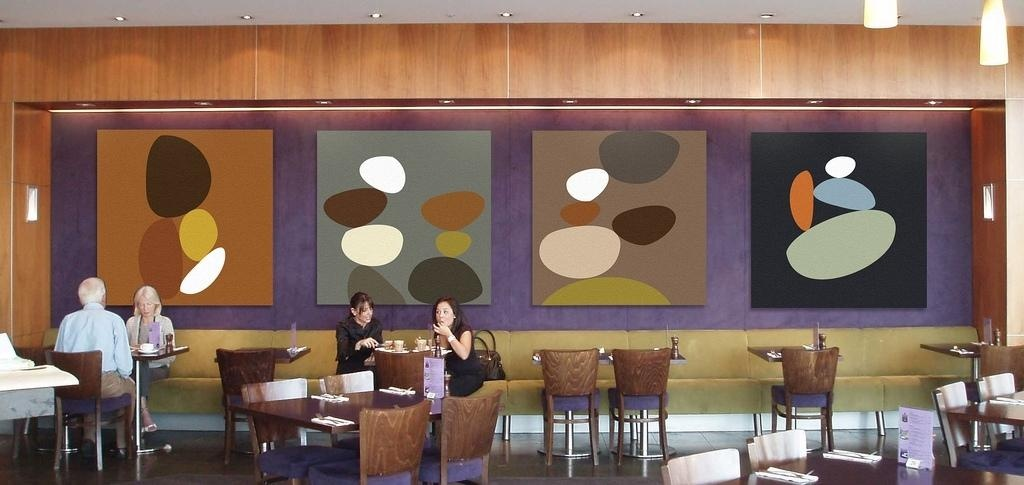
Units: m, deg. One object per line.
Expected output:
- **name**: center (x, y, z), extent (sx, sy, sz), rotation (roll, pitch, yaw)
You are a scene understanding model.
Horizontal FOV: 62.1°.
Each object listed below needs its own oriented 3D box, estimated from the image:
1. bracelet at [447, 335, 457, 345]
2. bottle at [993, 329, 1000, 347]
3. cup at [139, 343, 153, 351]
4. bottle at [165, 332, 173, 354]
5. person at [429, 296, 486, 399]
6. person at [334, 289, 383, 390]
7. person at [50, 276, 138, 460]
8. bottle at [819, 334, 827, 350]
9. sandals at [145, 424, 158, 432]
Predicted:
- **bracelet**: center (-0.978, 1.561, 13.769), extent (0.040, 0.112, 0.131), rotation (-12, 0, 40)
- **bottle**: center (8.258, 1.593, 14.461), extent (0.089, 0.251, 0.447), rotation (-6, -8, 29)
- **cup**: center (-5.997, 1.708, 13.924), extent (0.173, 0.091, 0.120), rotation (-1, 2, -22)
- **bottle**: center (-5.736, 1.664, 14.190), extent (0.127, 0.285, 0.474), rotation (1, -7, -22)
- **person**: center (-0.885, 1.697, 13.944), extent (0.833, 1.588, 0.506), rotation (0, -8, -14)
- **person**: center (-2.548, 1.488, 14.104), extent (0.745, 1.323, 0.596), rotation (-1, -8, -10)
- **person**: center (-6.627, 1.543, 13.503), extent (1.096, 1.950, 0.441), rotation (1, -8, -20)
- **bottle**: center (5.214, 1.660, 14.298), extent (0.078, 0.217, 0.178), rotation (-8, -9, 36)
- **sandals**: center (-6.100, 3.129, 14.292), extent (0.203, 0.096, 0.331), rotation (1, 0, -44)
